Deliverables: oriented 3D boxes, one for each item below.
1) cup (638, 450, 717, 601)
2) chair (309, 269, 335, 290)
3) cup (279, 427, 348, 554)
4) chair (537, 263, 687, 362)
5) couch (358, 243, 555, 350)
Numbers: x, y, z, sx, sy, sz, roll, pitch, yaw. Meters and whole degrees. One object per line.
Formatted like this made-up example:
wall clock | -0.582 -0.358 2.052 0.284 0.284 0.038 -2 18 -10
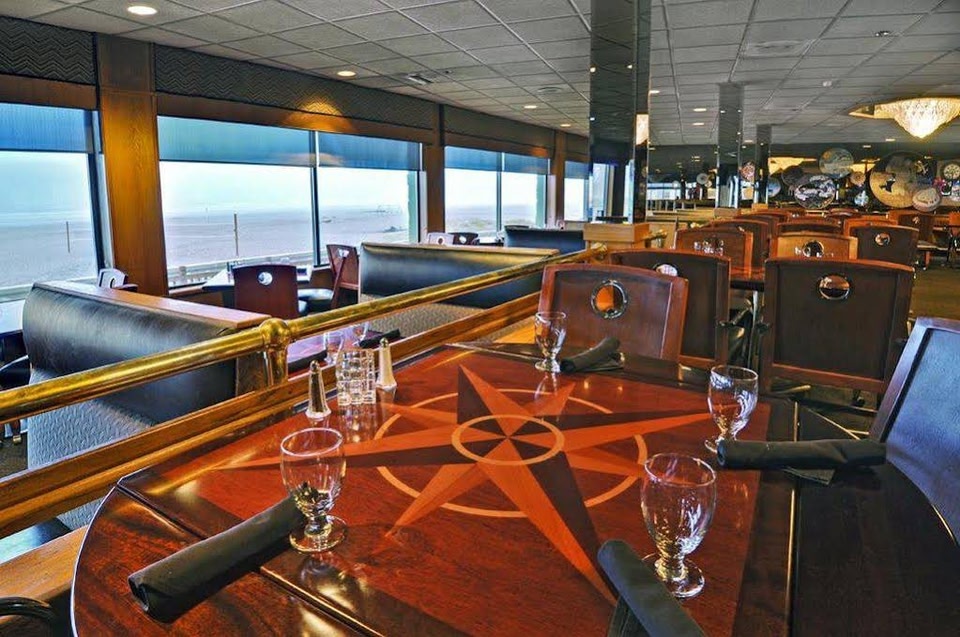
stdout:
cup | 0.369 0.378 1.132 0.126 0.198 0.201 3 12 16
chair | -1.894 -0.488 7.331 0.347 0.225 0.304 2 40 -4
cup | -0.337 0.338 1.226 0.121 0.184 0.199 -5 12 -15
chair | 0.562 -0.059 2.395 0.418 0.600 0.476 5 6 25
couch | -0.246 -0.194 3.878 1.349 0.547 0.561 2 12 12
